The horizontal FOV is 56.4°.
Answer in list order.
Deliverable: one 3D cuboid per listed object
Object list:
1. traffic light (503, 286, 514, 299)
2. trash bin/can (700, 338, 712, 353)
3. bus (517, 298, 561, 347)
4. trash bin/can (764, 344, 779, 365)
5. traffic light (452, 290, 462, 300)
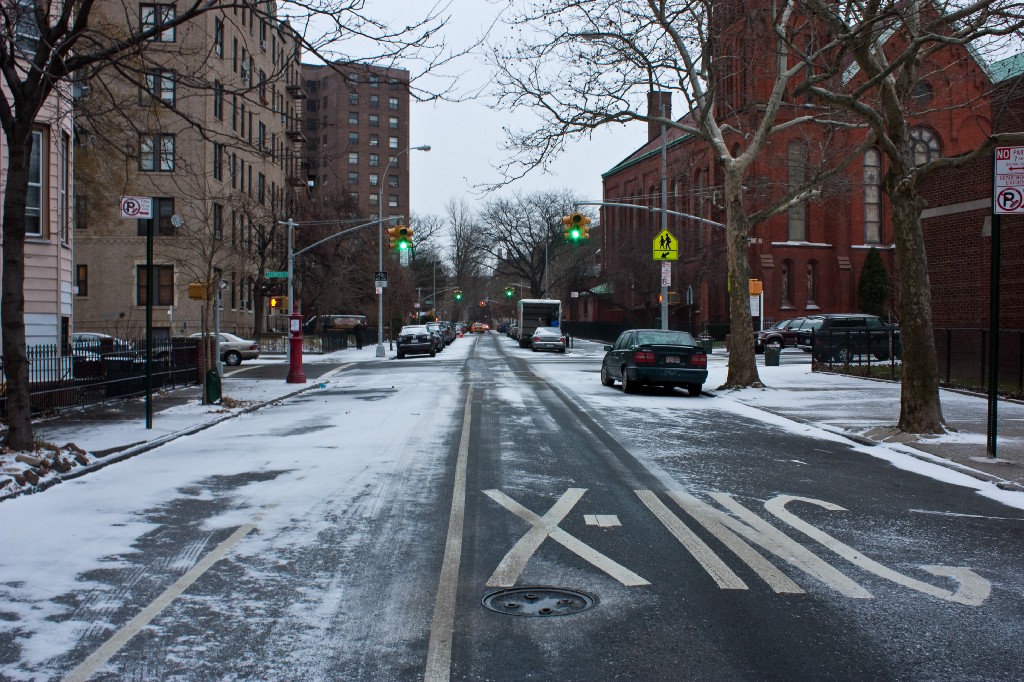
[{"bbox_3d":[-0.335,-4.596,88.551,0.842,0.931,0.941,0,-25,-3],"label":"traffic light"},{"bbox_3d":[8.834,0.163,43.938,0.410,0.558,0.714,-1,2,2],"label":"trash bin/can"},{"bbox_3d":[1.788,-1.495,70.619,2.269,2.389,3.941,1,1,-2],"label":"bus"},{"bbox_3d":[10.085,0.526,37.218,0.409,0.850,0.678,2,7,9],"label":"trash bin/can"},{"bbox_3d":[-5.779,-4.893,100.424,0.759,0.837,1.452,1,1,-3],"label":"traffic light"}]
